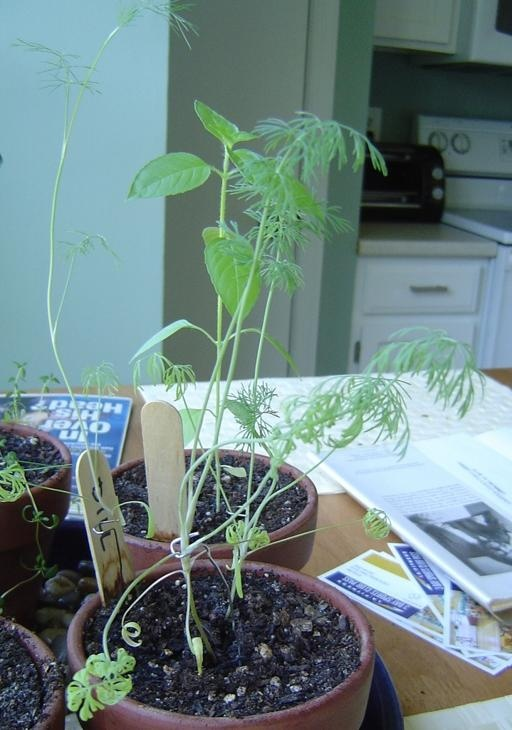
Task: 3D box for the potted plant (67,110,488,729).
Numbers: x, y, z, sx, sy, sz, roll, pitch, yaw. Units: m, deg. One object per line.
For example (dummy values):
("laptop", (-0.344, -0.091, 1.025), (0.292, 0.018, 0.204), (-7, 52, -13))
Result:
("potted plant", (-0.013, 0.002, 0.439), (0.160, 0.357, 0.148), (4, 18, -3))
